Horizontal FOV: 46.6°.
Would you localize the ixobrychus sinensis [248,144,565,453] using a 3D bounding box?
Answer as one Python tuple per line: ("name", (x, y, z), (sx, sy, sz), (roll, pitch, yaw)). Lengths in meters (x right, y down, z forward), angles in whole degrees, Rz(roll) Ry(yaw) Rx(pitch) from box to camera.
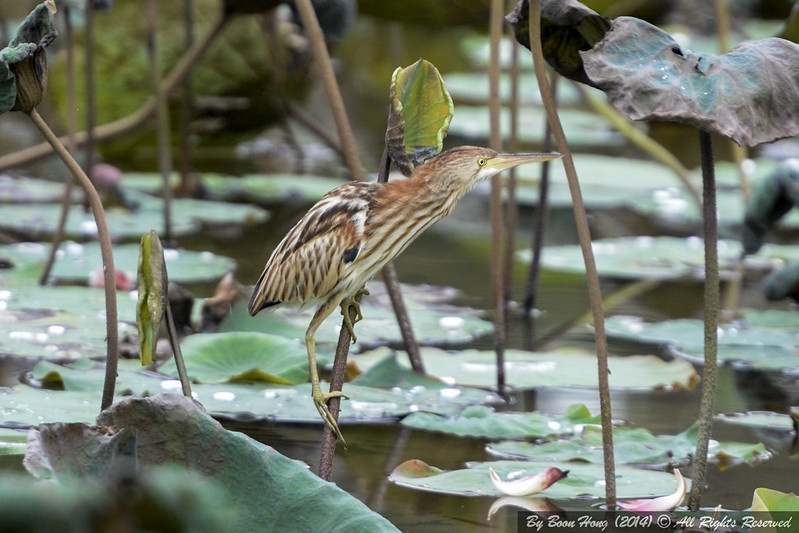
("ixobrychus sinensis", (-0.063, 0.067, 2.986), (0.842, 0.910, 0.297), (2, 11, -4))
